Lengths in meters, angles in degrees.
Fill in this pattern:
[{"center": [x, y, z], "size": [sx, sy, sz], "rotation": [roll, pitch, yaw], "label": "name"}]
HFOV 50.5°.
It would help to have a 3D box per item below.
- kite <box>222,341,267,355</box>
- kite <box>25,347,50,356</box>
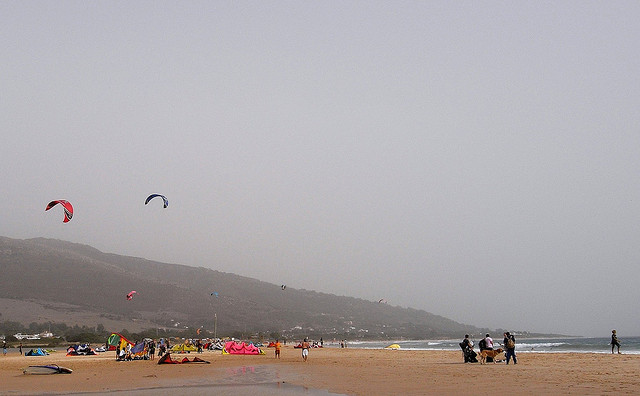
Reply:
[{"center": [-11.094, 21.979, 96.535], "size": [6.551, 2.285, 2.238], "rotation": [6, -10, 4], "label": "kite"}, {"center": [-43.593, 23.996, 103.599], "size": [2.781, 0.880, 1.879], "rotation": [-4, -7, 15], "label": "kite"}]
